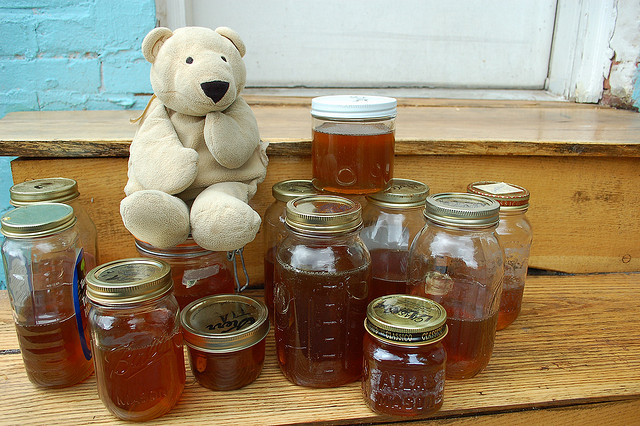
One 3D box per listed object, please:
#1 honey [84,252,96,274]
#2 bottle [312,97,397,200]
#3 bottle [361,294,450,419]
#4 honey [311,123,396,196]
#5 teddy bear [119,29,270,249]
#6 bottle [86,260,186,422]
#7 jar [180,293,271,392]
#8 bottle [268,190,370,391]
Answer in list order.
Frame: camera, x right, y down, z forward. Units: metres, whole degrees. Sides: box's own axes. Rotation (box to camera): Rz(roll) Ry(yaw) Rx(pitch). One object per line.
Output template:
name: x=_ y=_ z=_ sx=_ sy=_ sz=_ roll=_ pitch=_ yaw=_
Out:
honey: x=-0.628 y=0.135 z=1.501 sx=0.039 sy=0.048 sz=0.051 roll=-1 pitch=2 yaw=-33
bottle: x=0.096 y=-0.184 z=1.540 sx=0.321 sy=0.236 sz=0.311 roll=1 pitch=17 yaw=0
bottle: x=0.210 y=0.359 z=1.341 sx=0.207 sy=0.277 sz=0.166 roll=5 pitch=23 yaw=12
honey: x=0.077 y=-0.152 z=1.527 sx=0.213 sy=0.141 sz=0.205 roll=8 pitch=18 yaw=27
teddy bear: x=-0.314 y=-0.210 z=1.427 sx=0.423 sy=0.500 sz=0.463 roll=7 pitch=29 yaw=2
bottle: x=-0.443 y=0.308 z=1.338 sx=0.205 sy=0.356 sz=0.188 roll=0 pitch=23 yaw=0
jar: x=-0.224 y=0.323 z=1.471 sx=0.258 sy=0.168 sz=0.238 roll=0 pitch=15 yaw=0
bottle: x=0.001 y=0.202 z=1.401 sx=0.250 sy=0.464 sz=0.208 roll=-2 pitch=23 yaw=-5
